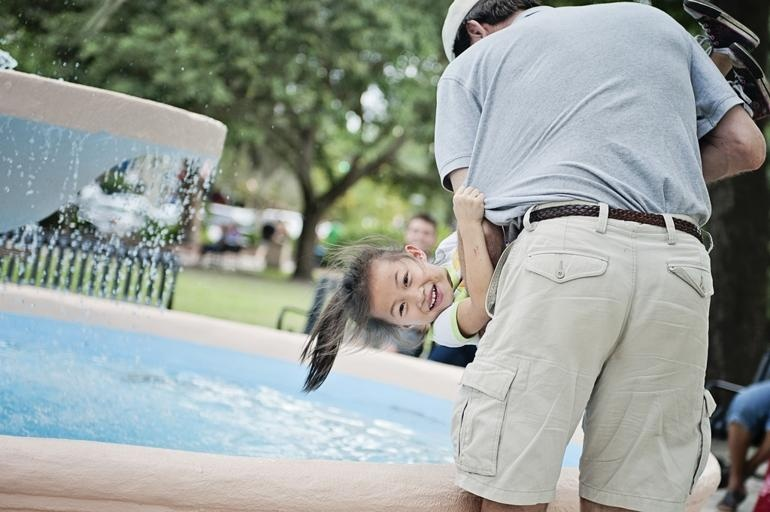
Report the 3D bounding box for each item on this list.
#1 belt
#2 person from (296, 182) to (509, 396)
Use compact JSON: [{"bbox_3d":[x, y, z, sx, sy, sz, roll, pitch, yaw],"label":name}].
[{"bbox_3d":[1.027,-0.168,4.173,0.773,0.120,0.114,4,2,-5],"label":"belt"},{"bbox_3d":[0.118,0.258,5.415,0.925,0.645,1.653,-27,-10,39],"label":"person"}]
